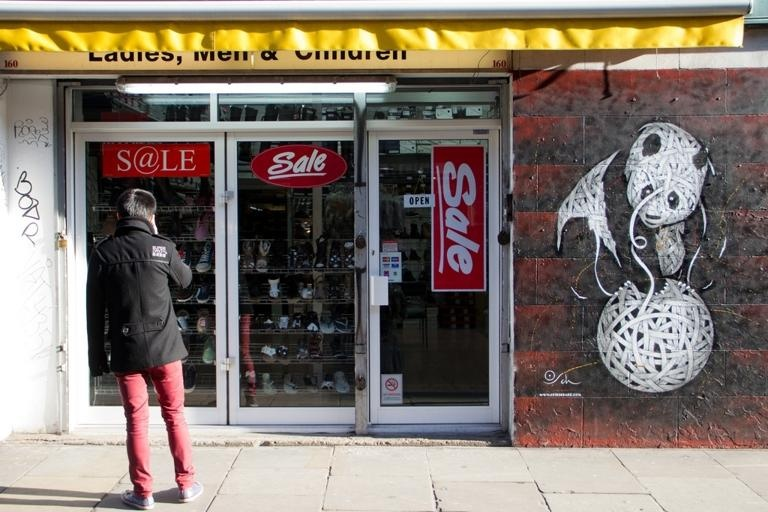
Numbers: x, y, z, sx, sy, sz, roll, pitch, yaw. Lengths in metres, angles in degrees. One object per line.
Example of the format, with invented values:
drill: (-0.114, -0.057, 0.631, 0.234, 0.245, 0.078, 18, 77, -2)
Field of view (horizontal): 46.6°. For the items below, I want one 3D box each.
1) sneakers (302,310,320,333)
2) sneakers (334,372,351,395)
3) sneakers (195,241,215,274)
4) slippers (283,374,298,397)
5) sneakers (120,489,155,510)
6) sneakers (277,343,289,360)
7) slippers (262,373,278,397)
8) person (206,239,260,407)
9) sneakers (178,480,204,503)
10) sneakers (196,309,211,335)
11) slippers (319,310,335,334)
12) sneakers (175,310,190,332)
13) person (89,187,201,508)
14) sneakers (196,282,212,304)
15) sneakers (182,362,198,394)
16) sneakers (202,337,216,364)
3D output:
sneakers: (-0.816, 0.728, 9.963, 0.182, 0.231, 0.085, 0, 1, -1)
sneakers: (-0.464, 1.417, 9.996, 0.171, 0.236, 0.117, -10, -18, -9)
sneakers: (-1.967, 0.000, 9.894, 0.141, 0.384, 0.149, 16, -29, -11)
slippers: (-1.053, 1.449, 9.996, 0.136, 0.221, 0.072, 1, -12, -18)
sneakers: (-2.329, 2.301, 8.424, 0.323, 0.123, 0.140, 7, 1, 34)
sneakers: (-1.136, 1.069, 10.070, 0.159, 0.142, 0.118, 0, 1, -11)
slippers: (-1.283, 1.432, 9.963, 0.159, 0.187, 0.240, 5, -29, 4)
person: (-1.523, 0.731, 9.893, 0.459, 1.866, 0.104, -1, -1, -14)
sneakers: (-1.841, 2.269, 8.534, 0.103, 0.121, 0.270, -2, 3, 18)
sneakers: (-2.005, 0.723, 9.886, 0.151, 0.263, 0.104, -1, 6, -1)
slippers: (-0.639, 0.750, 9.990, 0.172, 0.241, 0.096, 1, -7, 0)
sneakers: (-2.249, 0.726, 9.905, 0.184, 0.313, 0.127, 1, 6, -8)
person: (-2.277, 0.869, 8.424, 0.998, 3.037, 0.334, -1, -1, -19)
sneakers: (-2.003, 0.410, 9.951, 0.124, 0.248, 0.103, 2, -14, 2)
sneakers: (-2.165, 1.353, 9.938, 0.121, 0.352, 0.137, -1, -5, -4)
sneakers: (-1.946, 1.042, 9.922, 0.157, 0.294, 0.096, 2, -3, -1)
